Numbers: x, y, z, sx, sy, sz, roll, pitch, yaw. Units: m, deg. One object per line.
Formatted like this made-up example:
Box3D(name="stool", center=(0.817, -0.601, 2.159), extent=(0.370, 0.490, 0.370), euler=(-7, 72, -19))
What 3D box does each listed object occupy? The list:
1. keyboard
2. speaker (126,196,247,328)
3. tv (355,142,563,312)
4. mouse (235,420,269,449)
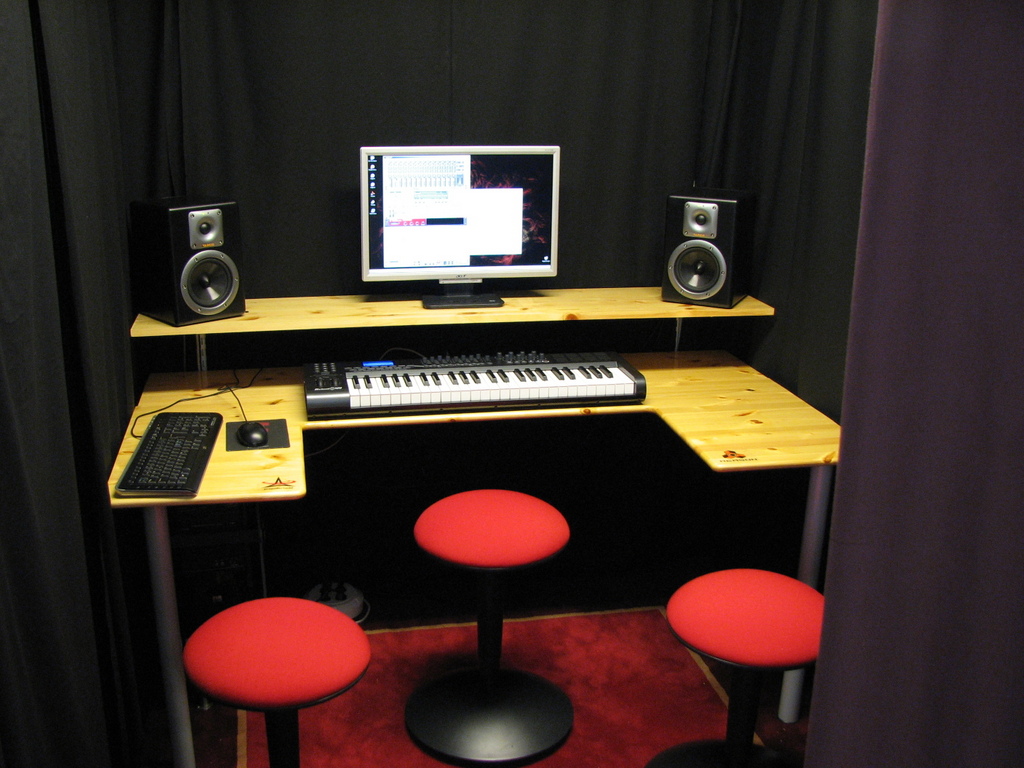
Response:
Box3D(name="keyboard", center=(-0.891, 0.177, 2.219), extent=(0.191, 0.036, 0.379), euler=(4, 29, -9))
Box3D(name="speaker", center=(-0.961, -0.411, 2.737), extent=(0.386, 0.482, 0.325), euler=(14, 20, 37))
Box3D(name="tv", center=(-0.187, -0.532, 2.788), extent=(0.543, 0.430, 0.161), euler=(-2, 25, -7))
Box3D(name="mouse", center=(-0.715, 0.136, 2.295), extent=(0.070, 0.024, 0.074), euler=(-16, 50, -27))
